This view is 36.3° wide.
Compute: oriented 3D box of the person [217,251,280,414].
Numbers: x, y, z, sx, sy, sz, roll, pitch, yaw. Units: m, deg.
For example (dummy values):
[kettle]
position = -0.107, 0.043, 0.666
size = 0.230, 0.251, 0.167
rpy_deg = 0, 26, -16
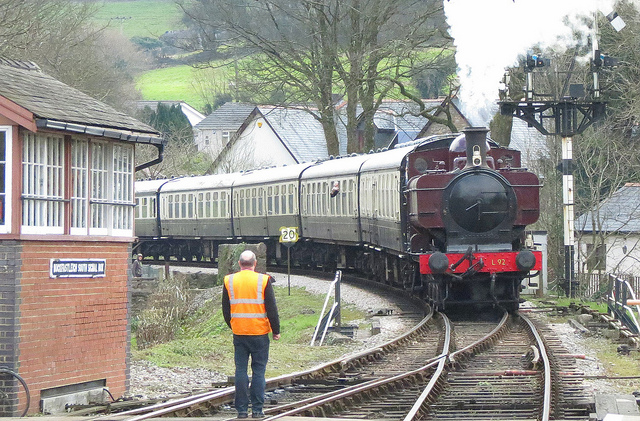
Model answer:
[person]
position = -1.182, 2.031, 16.314
size = 0.947, 2.652, 0.495
rpy_deg = 2, 2, 1
